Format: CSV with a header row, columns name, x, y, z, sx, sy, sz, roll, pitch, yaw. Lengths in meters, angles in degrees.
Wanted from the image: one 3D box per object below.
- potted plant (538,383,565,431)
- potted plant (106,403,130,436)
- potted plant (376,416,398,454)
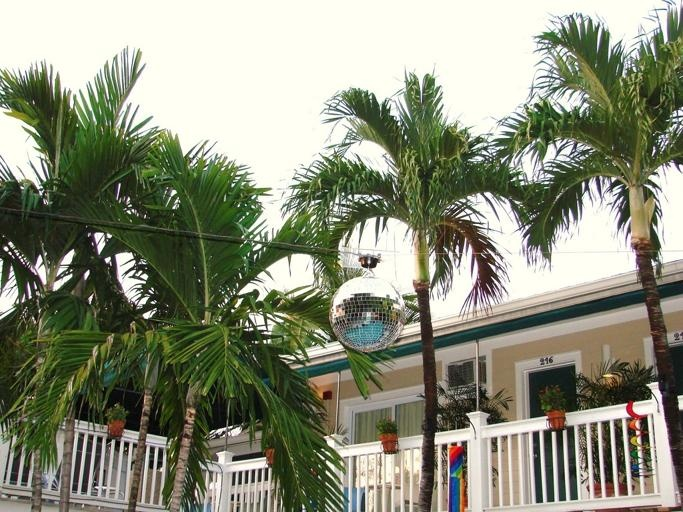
name,x,y,z,sx,sy,sz,roll,pitch,yaw
potted plant,2.847,2.053,9.679,0.312,0.620,0.384,-7,-19,16
potted plant,-3.545,2.628,11.401,0.356,0.583,0.385,5,-20,-21
potted plant,0.714,2.753,10.985,0.349,0.656,0.423,-1,-25,1
